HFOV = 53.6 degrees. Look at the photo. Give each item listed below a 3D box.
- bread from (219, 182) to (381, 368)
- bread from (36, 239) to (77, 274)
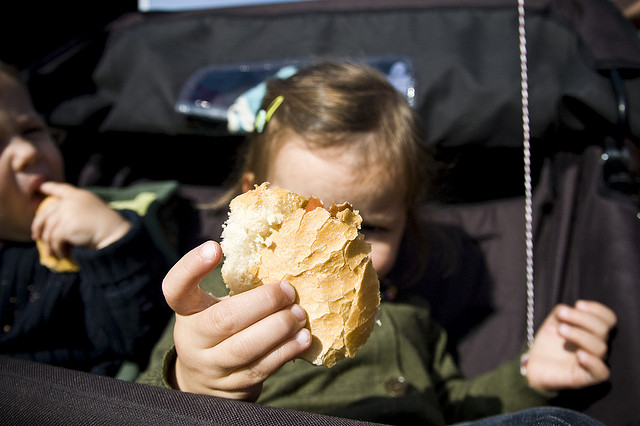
[{"bbox_3d":[-0.001,0.086,1.358,0.354,0.314,0.142,46,22,2],"label":"bread"},{"bbox_3d":[-0.609,0.105,1.472,0.077,0.031,0.099,-16,25,-23],"label":"bread"}]
